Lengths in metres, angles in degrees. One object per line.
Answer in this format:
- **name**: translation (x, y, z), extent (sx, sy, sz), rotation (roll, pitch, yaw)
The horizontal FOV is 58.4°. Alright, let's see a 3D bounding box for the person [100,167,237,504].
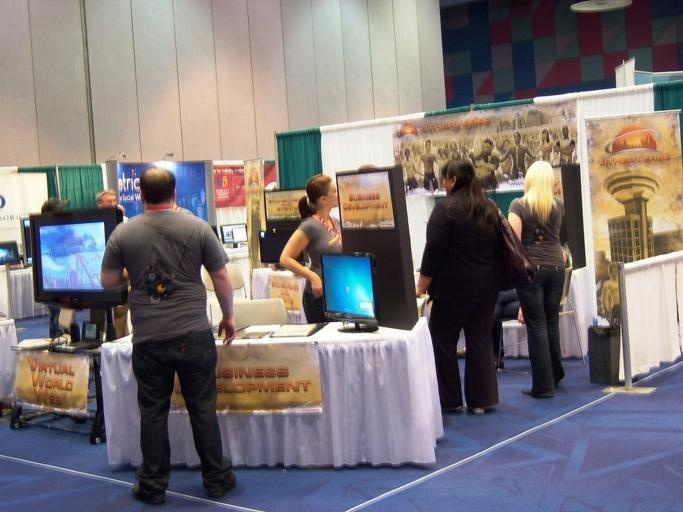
- **person**: translation (-1.071, 0.481, 3.838), extent (0.782, 2.054, 0.446), rotation (-5, 8, -12)

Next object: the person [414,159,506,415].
- **person**: translation (0.896, 0.272, 4.567), extent (0.629, 1.963, 0.324), rotation (-1, 8, 13)

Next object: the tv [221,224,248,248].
- **tv**: translation (-2.174, -0.438, 12.384), extent (0.744, 0.572, 0.380), rotation (-3, 2, -42)

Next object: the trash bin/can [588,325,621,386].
- **trash bin/can**: translation (2.302, 0.838, 5.337), extent (0.299, 0.504, 0.308), rotation (-3, -12, 36)

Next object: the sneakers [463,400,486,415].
- **sneakers**: translation (1.036, 1.187, 4.782), extent (0.085, 0.043, 0.110), rotation (0, 0, -43)

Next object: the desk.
- **desk**: translation (-0.384, 0.804, 4.378), extent (1.808, 0.772, 1.097), rotation (-1, 5, 5)

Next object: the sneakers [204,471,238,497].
- **sneakers**: translation (-0.758, 1.443, 3.880), extent (0.085, 0.115, 0.261), rotation (0, 3, 13)

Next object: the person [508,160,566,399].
- **person**: translation (1.631, 0.198, 5.046), extent (0.488, 1.929, 0.351), rotation (-3, 8, 0)

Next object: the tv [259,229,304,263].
- **tv**: translation (-0.646, -0.109, 6.523), extent (0.405, 0.324, 0.057), rotation (1, 0, 24)

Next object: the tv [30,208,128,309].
- **tv**: translation (-2.054, 0.007, 4.848), extent (0.767, 0.756, 0.312), rotation (-2, 3, 10)

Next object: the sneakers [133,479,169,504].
- **sneakers**: translation (-1.204, 1.482, 3.861), extent (0.205, 0.151, 0.104), rotation (13, 9, 43)

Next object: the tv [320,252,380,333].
- **tv**: translation (0.094, 0.239, 4.224), extent (0.507, 0.530, 0.184), rotation (-1, 1, 44)
